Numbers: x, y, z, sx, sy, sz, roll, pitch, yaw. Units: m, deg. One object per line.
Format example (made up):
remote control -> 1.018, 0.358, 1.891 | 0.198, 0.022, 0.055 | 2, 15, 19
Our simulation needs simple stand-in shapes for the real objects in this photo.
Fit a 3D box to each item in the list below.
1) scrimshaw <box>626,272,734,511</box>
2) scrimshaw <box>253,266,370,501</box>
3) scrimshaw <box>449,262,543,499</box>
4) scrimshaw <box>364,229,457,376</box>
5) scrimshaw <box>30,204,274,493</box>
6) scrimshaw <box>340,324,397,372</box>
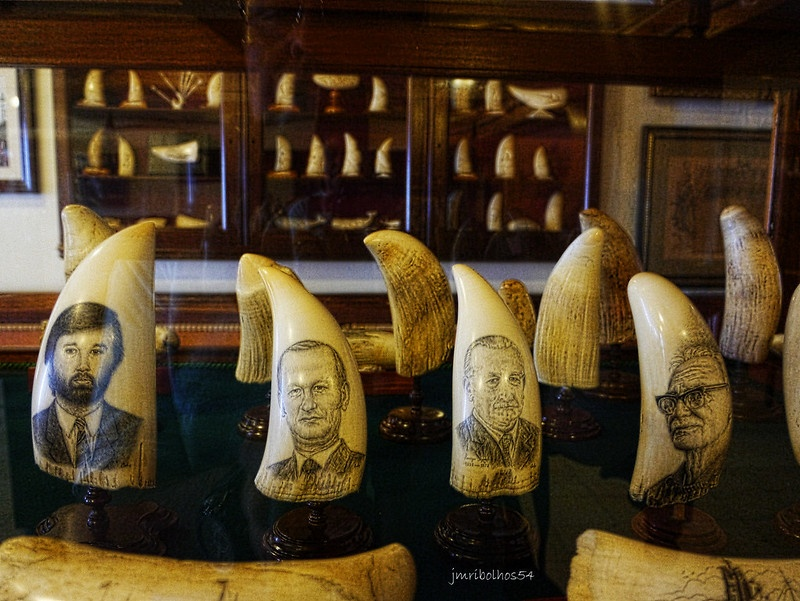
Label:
scrimshaw -> 0.224, 0.067, 0.857 | 0.087, 0.228, 0.069 | 1, 27, 5
scrimshaw -> -0.077, 0.067, 0.833 | 0.092, 0.186, 0.065 | -2, 9, 1
scrimshaw -> 0.078, 0.065, 0.845 | 0.075, 0.185, 0.076 | -2, 9, 6
scrimshaw -> 0.020, -0.011, 0.977 | 0.115, 0.158, 0.116 | 0, 20, 4
scrimshaw -> -0.249, 0.049, 0.828 | 0.107, 0.217, 0.045 | -5, 9, -15
scrimshaw -> -0.028, 0.043, 0.947 | 0.055, 0.031, 0.022 | -3, 4, -13
